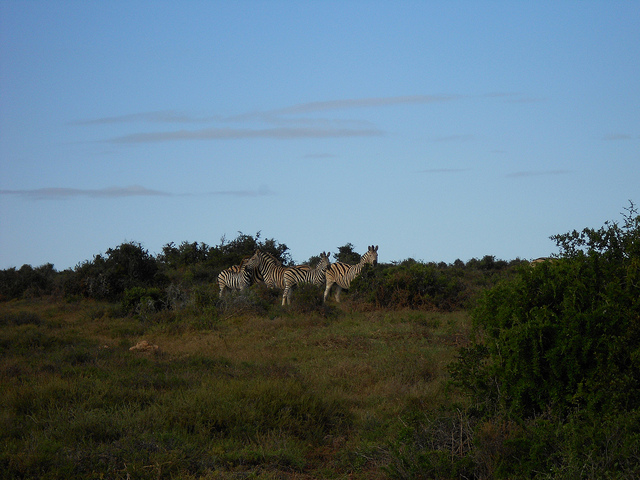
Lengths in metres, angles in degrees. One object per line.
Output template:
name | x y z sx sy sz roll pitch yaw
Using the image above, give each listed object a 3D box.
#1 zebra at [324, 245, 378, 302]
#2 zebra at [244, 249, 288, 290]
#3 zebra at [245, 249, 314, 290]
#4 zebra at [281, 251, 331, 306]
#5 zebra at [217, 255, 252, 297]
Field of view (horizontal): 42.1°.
zebra | 1.056 1.195 27.597 2.080 2.067 0.617 -1 -2 33
zebra | -1.780 1.052 28.856 1.700 1.255 0.827 5 8 42
zebra | -1.451 1.279 28.854 2.120 1.645 0.568 5 0 22
zebra | -0.458 1.308 27.482 0.943 1.458 2.249 5 8 41
zebra | -2.927 1.361 29.388 1.724 1.699 0.530 1 18 25
